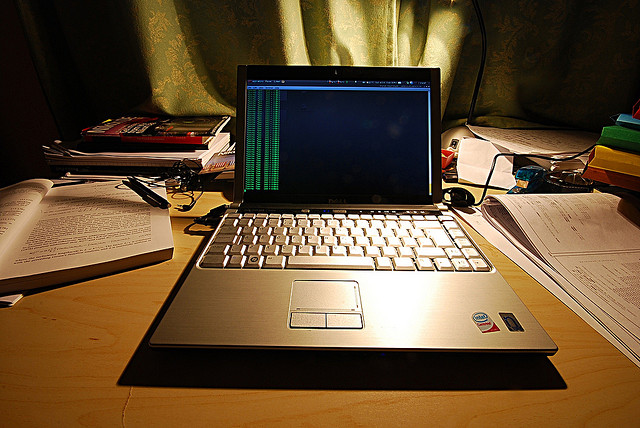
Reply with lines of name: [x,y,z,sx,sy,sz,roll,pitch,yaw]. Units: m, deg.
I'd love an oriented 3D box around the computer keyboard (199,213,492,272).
computer keyboard: [0.048,0.051,0.866,0.540,0.019,0.173,1,36,1]

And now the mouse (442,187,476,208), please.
mouse: [0.328,-0.039,1.036,0.058,0.023,0.073,18,0,-20]
